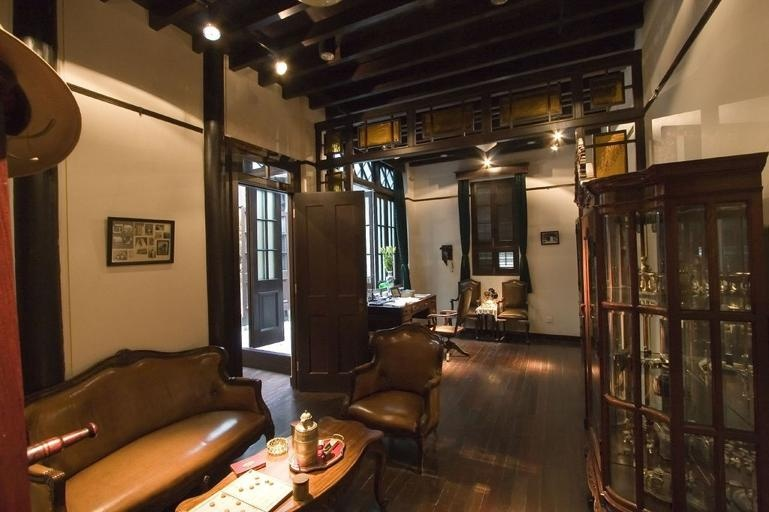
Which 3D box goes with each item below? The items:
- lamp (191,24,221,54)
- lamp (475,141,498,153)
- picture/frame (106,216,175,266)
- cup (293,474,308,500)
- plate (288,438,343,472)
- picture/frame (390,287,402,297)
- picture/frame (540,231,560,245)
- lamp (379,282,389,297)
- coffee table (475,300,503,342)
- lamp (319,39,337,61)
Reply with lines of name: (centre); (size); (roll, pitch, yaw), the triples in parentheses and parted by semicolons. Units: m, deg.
lamp: (-1.686, -2.073, 5.259); (0.322, 0.083, 0.255); (-2, -8, 20)
lamp: (1.633, -1.719, 8.620); (0.248, 0.133, 0.375); (-4, 1, -32)
picture/frame: (-2.237, -0.136, 4.961); (0.035, 0.390, 0.444); (-4, -4, 36)
cup: (-0.610, 1.688, 4.025); (0.116, 0.188, 0.107); (-3, 1, 0)
plate: (-0.455, 1.570, 4.309); (0.209, 0.040, 0.280); (9, 13, 29)
picture/frame: (0.168, 0.540, 8.252); (0.130, 0.143, 0.140); (-5, -5, 45)
picture/frame: (2.614, -0.290, 8.567); (0.211, 0.186, 0.021); (1, -3, 30)
lamp: (0.002, 0.492, 8.050); (0.171, 0.174, 0.308); (-2, 2, 1)
coffee table: (1.676, 0.994, 8.672); (0.542, 0.672, 0.558); (0, 4, 23)
lamp: (-0.540, -2.029, 5.445); (0.184, 0.223, 0.202); (2, 1, 5)
